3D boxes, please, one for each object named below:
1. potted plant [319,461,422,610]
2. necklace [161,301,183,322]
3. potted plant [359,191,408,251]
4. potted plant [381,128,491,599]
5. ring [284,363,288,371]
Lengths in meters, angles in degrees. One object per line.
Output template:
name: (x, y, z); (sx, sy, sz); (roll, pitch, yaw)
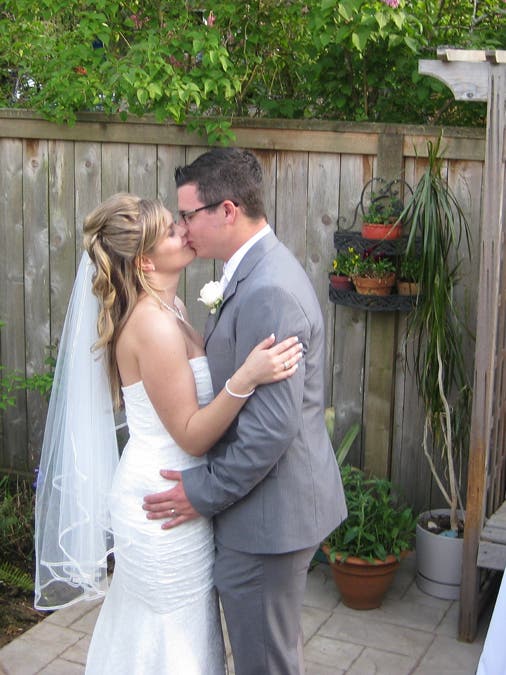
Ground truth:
potted plant: (0.507, 0.927, 3.025); (0.293, 0.537, 0.360); (3, -4, 0)
necklace: (-0.232, -0.072, 1.986); (0.053, 0.013, 0.040); (47, 6, 4)
potted plant: (0.594, -0.494, 3.120); (0.209, 0.374, 0.212); (0, -1, 42)
potted plant: (0.789, 0.152, 2.989); (0.336, 2.032, 0.632); (3, 10, 18)
ring: (0.073, 0.067, 1.532); (0.009, 0.018, 0.005); (-1, -3, 1)
